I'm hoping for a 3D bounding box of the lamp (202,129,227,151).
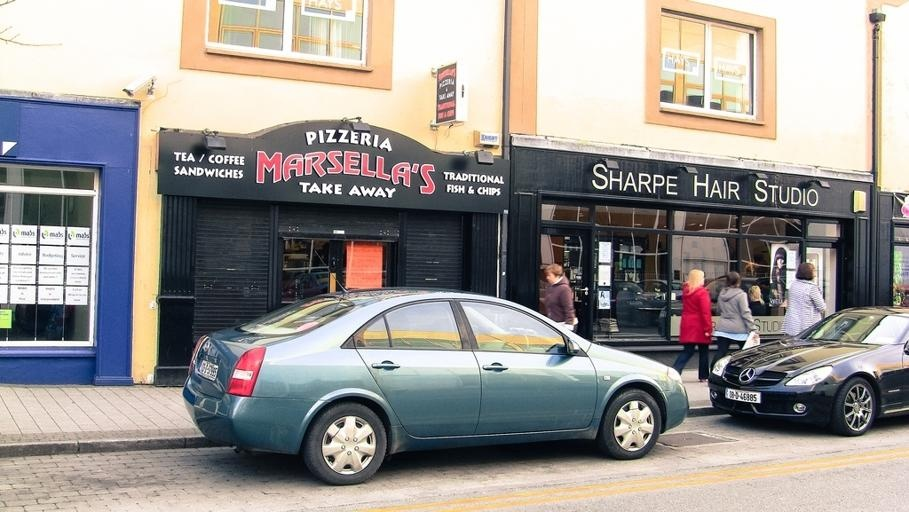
[{"bbox_3d":[-4.775,-2.338,15.455,0.446,0.398,0.219,1,-1,-15],"label":"lamp"}]

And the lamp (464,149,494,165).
[{"bbox_3d":[0.626,-2.201,17.062,0.439,0.155,0.429,2,-2,-43],"label":"lamp"}]

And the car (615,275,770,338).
[{"bbox_3d":[6.116,1.274,19.420,3.279,1.256,1.736,2,-2,-2],"label":"car"}]

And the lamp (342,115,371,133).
[{"bbox_3d":[-2.065,-2.801,16.315,0.599,0.339,0.199,1,-1,-10],"label":"lamp"}]
